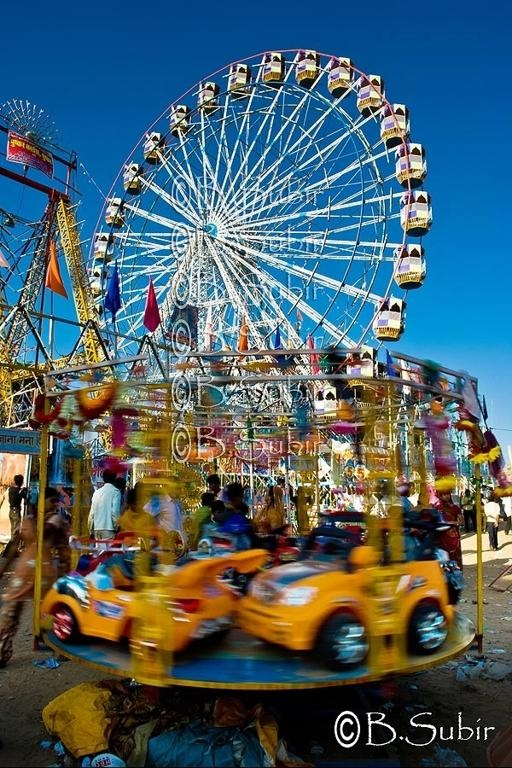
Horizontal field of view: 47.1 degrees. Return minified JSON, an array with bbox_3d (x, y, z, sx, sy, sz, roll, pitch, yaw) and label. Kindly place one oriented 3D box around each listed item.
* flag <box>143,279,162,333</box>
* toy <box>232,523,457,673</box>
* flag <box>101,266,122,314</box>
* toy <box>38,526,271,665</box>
[{"bbox_3d":[-2.407,-1.866,13.480,0.411,1.407,0.201,-7,-24,2],"label":"flag"},{"bbox_3d":[0.660,1.411,4.150,1.541,0.767,0.910,7,-10,-31],"label":"toy"},{"bbox_3d":[-3.870,-2.558,16.008,0.418,1.680,0.192,9,-33,-18],"label":"flag"},{"bbox_3d":[-0.877,1.425,4.007,1.595,0.756,0.828,-8,-24,26],"label":"toy"}]
